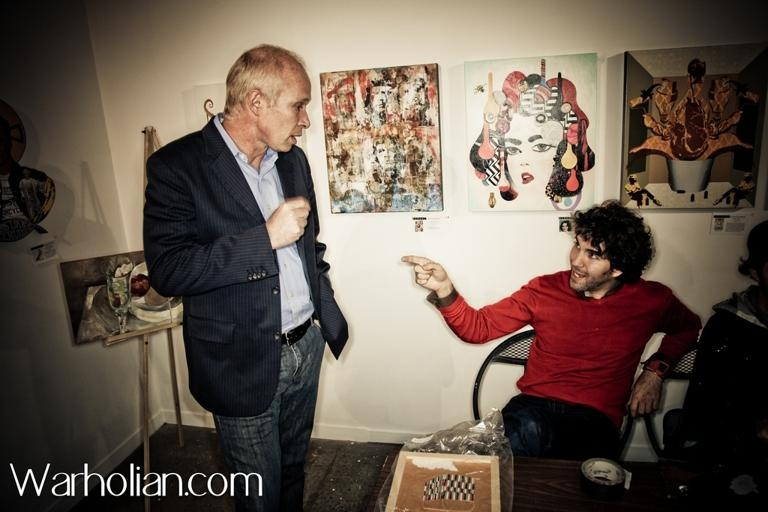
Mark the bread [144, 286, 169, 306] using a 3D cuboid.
[{"bbox_3d":[-1.321,0.228,2.994,0.119,0.090,0.136,18,19,17],"label":"bread"}]
